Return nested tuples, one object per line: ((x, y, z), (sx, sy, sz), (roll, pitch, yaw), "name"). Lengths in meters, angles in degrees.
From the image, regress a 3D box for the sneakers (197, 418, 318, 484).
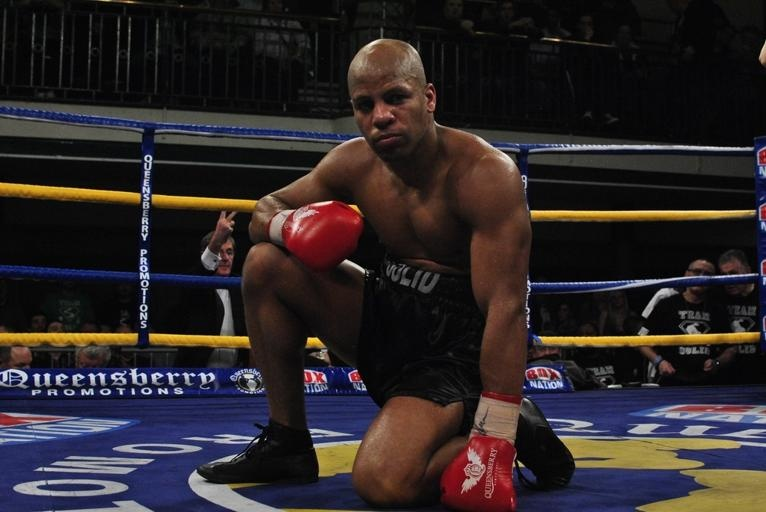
((-0.439, 0.761, 3.347), (0.566, 0.208, 0.190), (-6, -15, 24), "sneakers")

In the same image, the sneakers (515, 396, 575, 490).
((0.606, 0.701, 3.254), (0.213, 0.321, 0.119), (-2, 2, 7), "sneakers")

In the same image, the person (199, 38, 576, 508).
((-0.010, 0.188, 3.231), (1.091, 1.390, 0.419), (-1, 2, 16), "person")

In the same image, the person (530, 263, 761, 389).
((1.848, 0.488, 5.878), (1.396, 0.425, 1.350), (-3, -3, 37), "person")
